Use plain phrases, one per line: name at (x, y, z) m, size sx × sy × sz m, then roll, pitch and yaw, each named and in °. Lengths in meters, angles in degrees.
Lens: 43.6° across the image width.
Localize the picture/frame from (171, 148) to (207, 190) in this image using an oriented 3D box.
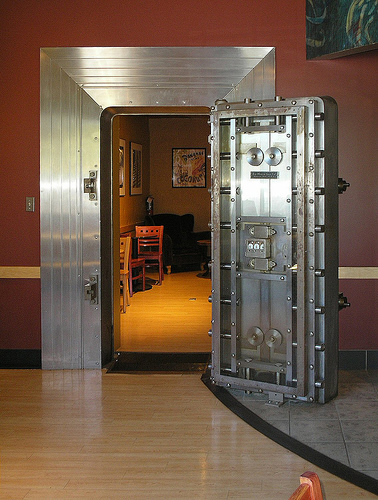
picture/frame at (-0.038, -1.804, 10.295) m, size 0.830 × 1.102 × 0.076 m, roll 0°, pitch -1°, yaw -2°

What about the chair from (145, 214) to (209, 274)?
chair at (-0.173, -0.160, 9.557) m, size 1.179 × 1.436 × 1.157 m, roll 0°, pitch -1°, yaw -29°
